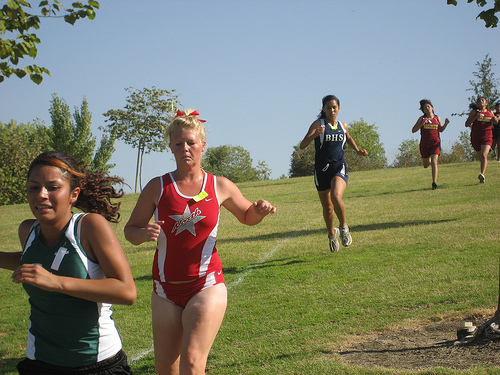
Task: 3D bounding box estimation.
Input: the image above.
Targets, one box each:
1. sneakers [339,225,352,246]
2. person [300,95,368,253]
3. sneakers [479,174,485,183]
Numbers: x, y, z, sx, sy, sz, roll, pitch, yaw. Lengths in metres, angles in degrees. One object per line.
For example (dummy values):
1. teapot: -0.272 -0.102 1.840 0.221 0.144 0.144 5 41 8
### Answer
1. sneakers: 1.834 0.947 9.848 0.184 0.499 0.219 -24 -22 35
2. person: 1.594 -0.233 9.840 0.971 3.061 1.585 -5 7 11
3. sneakers: 6.984 -0.273 15.359 0.209 0.284 0.092 -21 27 0
